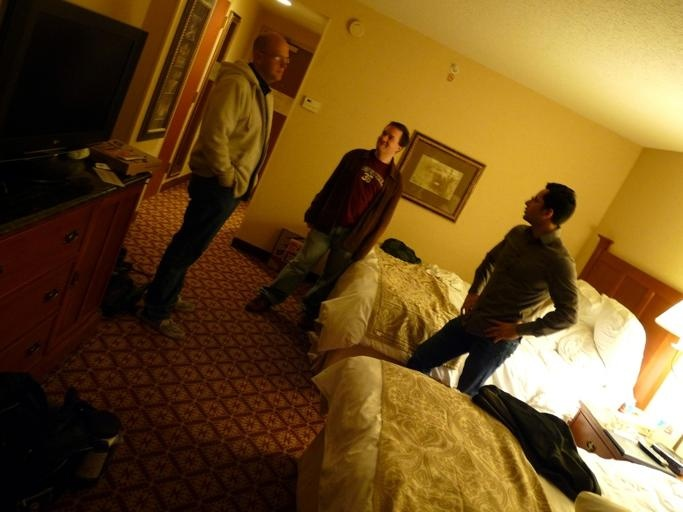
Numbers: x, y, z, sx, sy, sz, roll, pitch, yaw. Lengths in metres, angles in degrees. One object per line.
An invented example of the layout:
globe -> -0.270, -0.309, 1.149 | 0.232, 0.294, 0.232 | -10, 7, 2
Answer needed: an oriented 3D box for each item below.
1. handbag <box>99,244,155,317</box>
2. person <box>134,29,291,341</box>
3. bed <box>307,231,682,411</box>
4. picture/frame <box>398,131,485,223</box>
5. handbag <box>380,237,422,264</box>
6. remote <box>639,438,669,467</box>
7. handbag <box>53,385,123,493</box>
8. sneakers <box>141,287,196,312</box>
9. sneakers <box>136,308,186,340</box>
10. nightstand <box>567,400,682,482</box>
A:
handbag -> -1.568, 0.176, 3.352 | 0.371, 0.185, 0.486 | 6, 41, -42
person -> -0.833, -0.426, 3.071 | 0.489, 2.107, 0.384 | 10, 23, -42
bed -> 1.159, 0.582, 3.733 | 1.902, 0.788, 1.688 | 31, 22, -10
picture/frame -> 1.051, -0.882, 4.880 | 0.679, 0.600, 0.052 | 22, 14, -12
handbag -> 0.600, -0.042, 4.695 | 0.352, 0.087, 0.248 | 22, 26, -10
remote -> 2.121, 1.355, 3.176 | 0.142, 0.031, 0.145 | 24, 14, -28
handbag -> -1.177, 0.818, 2.213 | 0.181, 0.245, 0.526 | 4, 26, -15
sneakers -> -1.303, 0.333, 3.491 | 0.421, 0.189, 0.152 | 8, 34, -15
sneakers -> -1.221, 0.509, 3.277 | 0.359, 0.142, 0.160 | 29, 29, -19
nightstand -> 1.910, 1.248, 3.170 | 0.402, 0.387, 0.581 | -1, 31, -38
